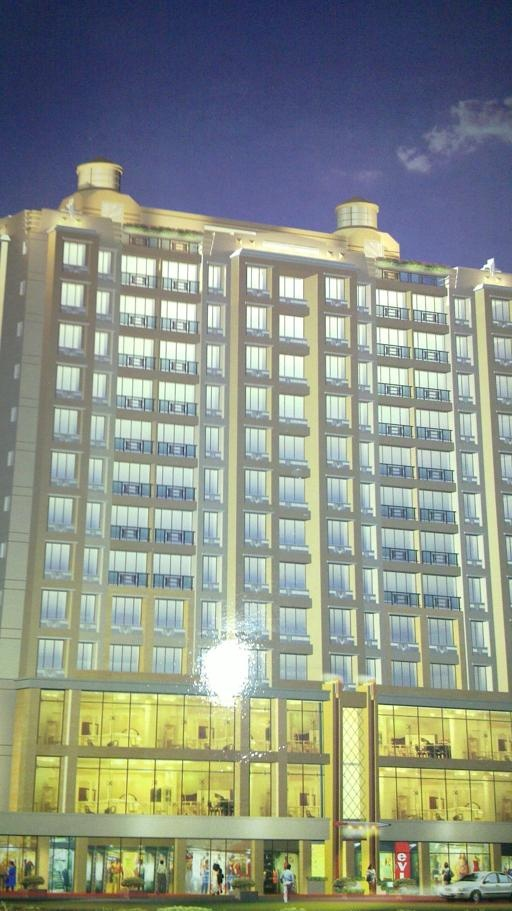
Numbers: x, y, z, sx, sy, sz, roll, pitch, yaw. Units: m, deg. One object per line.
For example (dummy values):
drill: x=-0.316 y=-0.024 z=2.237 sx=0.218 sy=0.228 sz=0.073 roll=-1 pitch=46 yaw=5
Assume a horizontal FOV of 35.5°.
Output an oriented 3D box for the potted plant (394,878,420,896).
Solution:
potted plant: x=7.875 y=22.591 z=41.736 sx=0.866 sy=0.862 sz=3.593 roll=-8 pitch=-22 yaw=21

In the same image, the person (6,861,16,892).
person: x=-11.267 y=19.421 z=37.008 sx=0.528 sy=1.032 sz=1.765 roll=5 pitch=-21 yaw=-14

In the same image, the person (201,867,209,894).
person: x=-2.582 y=21.375 z=40.532 sx=0.377 sy=1.250 sz=0.792 roll=1 pitch=-19 yaw=-3

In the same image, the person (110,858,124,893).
person: x=-6.737 y=20.470 z=39.032 sx=0.598 sy=1.343 sz=0.618 roll=6 pitch=-20 yaw=-17

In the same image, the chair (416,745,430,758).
chair: x=10.363 y=18.413 z=49.753 sx=0.659 sy=0.707 sz=0.664 roll=4 pitch=-26 yaw=-9

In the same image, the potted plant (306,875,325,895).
potted plant: x=3.130 y=22.585 z=41.958 sx=0.870 sy=0.951 sz=0.497 roll=6 pitch=-19 yaw=-13

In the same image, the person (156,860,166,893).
person: x=-4.676 y=20.903 z=39.861 sx=0.493 sy=1.454 sz=0.531 roll=4 pitch=-19 yaw=-11
